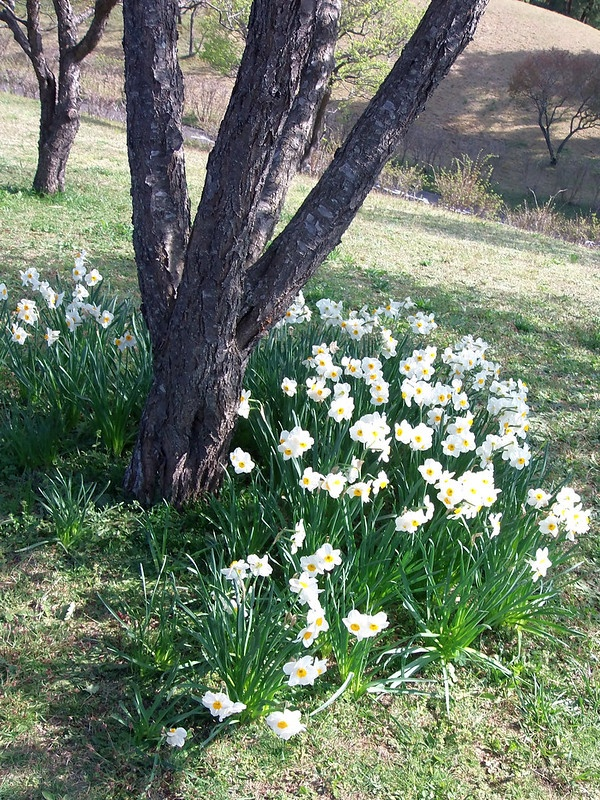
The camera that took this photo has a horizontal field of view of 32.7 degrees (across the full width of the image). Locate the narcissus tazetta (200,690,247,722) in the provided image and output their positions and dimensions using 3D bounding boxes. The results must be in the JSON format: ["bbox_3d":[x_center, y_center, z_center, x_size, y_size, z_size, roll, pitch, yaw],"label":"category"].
[{"bbox_3d":[-0.252,0.981,3.331,0.124,0.056,0.123,27,5,32],"label":"narcissus tazetta"}]
